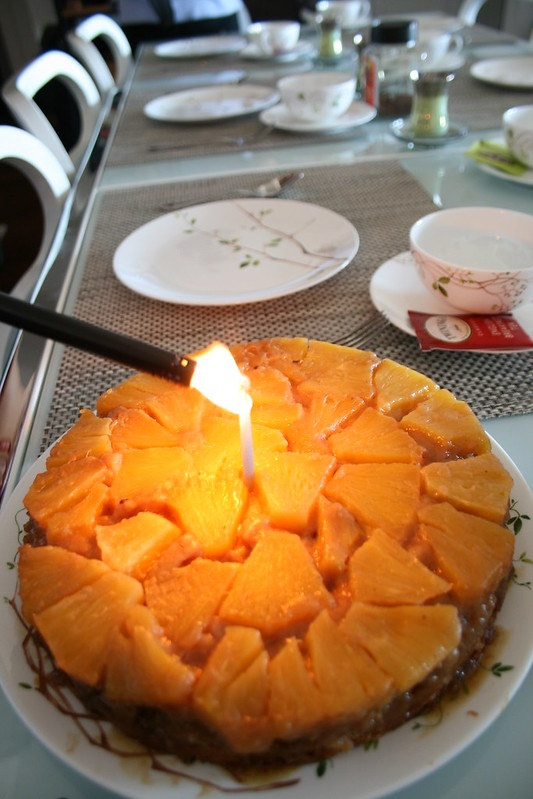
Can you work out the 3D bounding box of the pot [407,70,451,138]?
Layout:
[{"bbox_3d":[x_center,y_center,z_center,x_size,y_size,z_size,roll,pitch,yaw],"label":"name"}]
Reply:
[{"bbox_3d":[0.322,-0.584,1.235,0.103,0.124,0.101,-4,30,2],"label":"pot"}]

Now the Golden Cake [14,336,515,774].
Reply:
[{"bbox_3d":[-0.003,0.101,0.389,0.257,0.059,0.250,-1,36,4],"label":"Golden Cake"}]

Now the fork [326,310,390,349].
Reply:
[{"bbox_3d":[0.103,-0.078,0.701,0.012,0.013,0.088,37,56,21],"label":"fork"}]
